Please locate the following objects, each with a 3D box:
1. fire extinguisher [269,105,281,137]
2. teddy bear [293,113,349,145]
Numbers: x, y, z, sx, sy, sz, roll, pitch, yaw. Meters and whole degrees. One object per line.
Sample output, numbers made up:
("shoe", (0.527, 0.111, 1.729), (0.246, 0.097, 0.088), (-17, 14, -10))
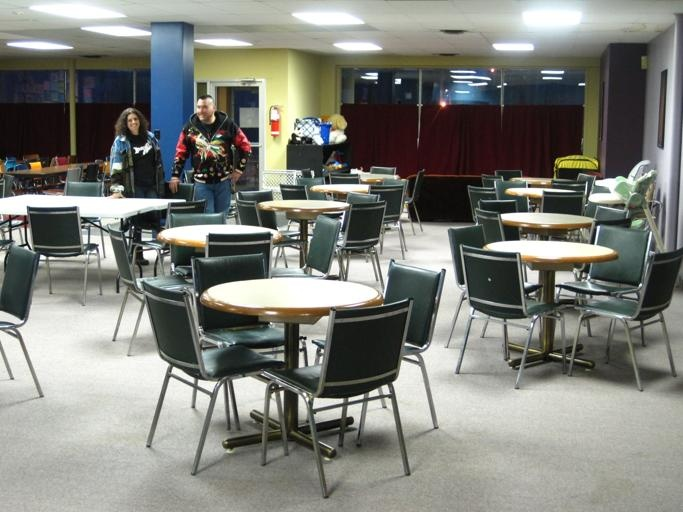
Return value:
("fire extinguisher", (-1.514, -3.012, 12.390), (0.262, 0.688, 0.191), (2, 10, 7))
("teddy bear", (-0.497, -2.868, 12.388), (1.128, 0.434, 0.856), (1, 9, 5))
